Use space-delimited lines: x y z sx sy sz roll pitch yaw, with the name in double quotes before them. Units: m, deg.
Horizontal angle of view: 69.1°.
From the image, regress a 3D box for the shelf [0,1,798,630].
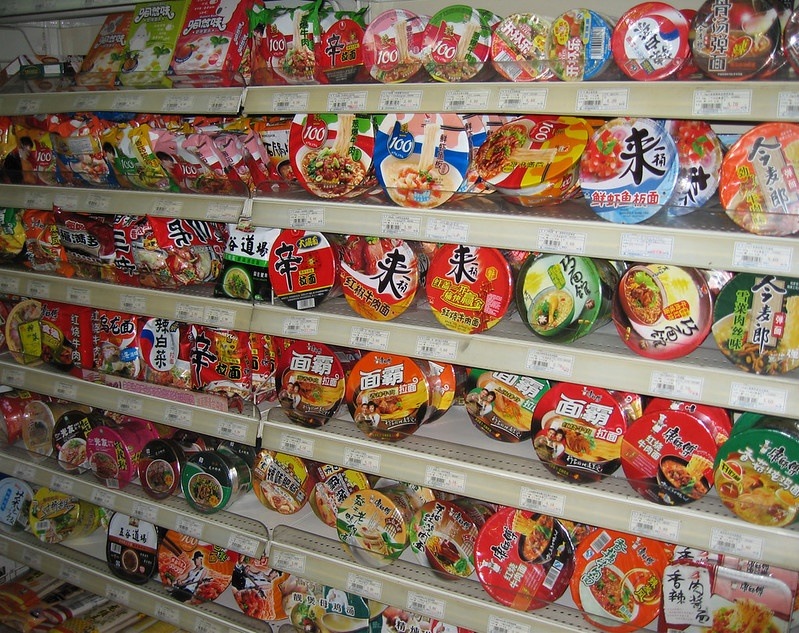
"shelf" 0.045 -0.030 2.056 2.322 0.893 0.726 9 24 25
